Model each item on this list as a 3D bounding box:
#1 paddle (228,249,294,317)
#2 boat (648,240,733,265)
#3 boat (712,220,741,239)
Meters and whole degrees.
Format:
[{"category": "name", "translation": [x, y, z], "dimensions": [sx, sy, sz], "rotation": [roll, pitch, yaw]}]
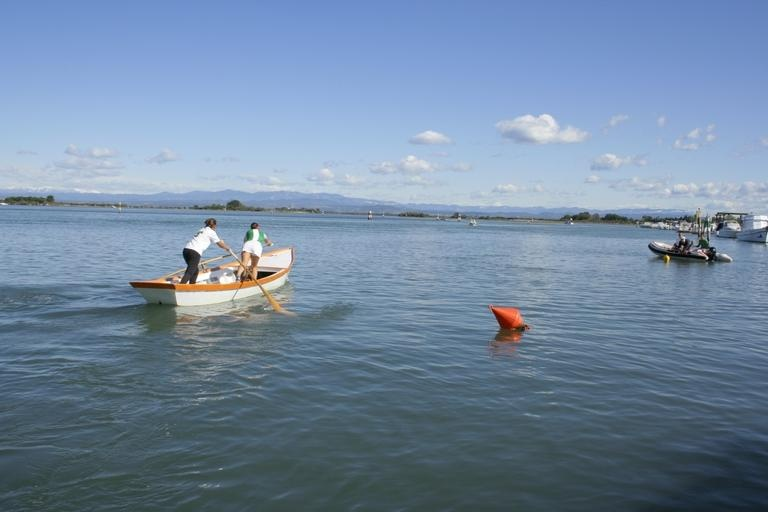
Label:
[{"category": "paddle", "translation": [-5.187, 1.209, 24.629], "dimensions": [6.249, 0.536, 0.321], "rotation": [27, 6, 34]}, {"category": "boat", "translation": [24.275, -0.202, 48.266], "dimensions": [3.582, 0.988, 5.250], "rotation": [3, 1, -35]}, {"category": "boat", "translation": [71.648, -5.364, 119.823], "dimensions": [5.089, 3.158, 12.851], "rotation": [-1, -4, 17]}]
